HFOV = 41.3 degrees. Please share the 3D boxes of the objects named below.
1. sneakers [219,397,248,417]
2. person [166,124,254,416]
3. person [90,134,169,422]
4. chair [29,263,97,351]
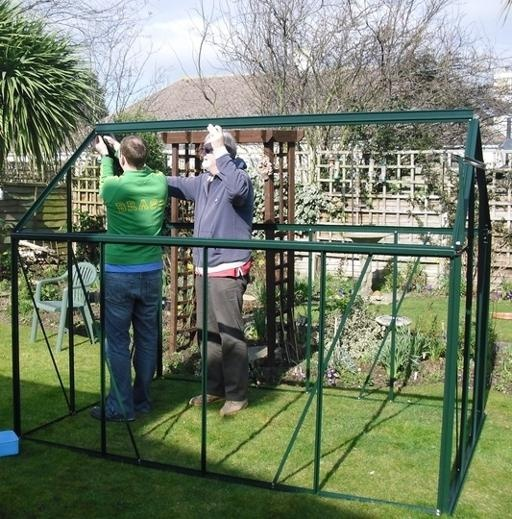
[{"bbox_3d":[-0.152,0.960,4.436,0.075,0.087,0.191,0,-3,36],"label":"sneakers"},{"bbox_3d":[-0.227,0.085,4.358,0.429,1.867,0.870,-1,7,-8],"label":"person"},{"bbox_3d":[-0.798,0.122,4.230,0.472,1.783,0.749,0,7,-4],"label":"person"},{"bbox_3d":[-1.701,0.396,6.020,0.479,0.741,0.503,5,5,20],"label":"chair"}]
